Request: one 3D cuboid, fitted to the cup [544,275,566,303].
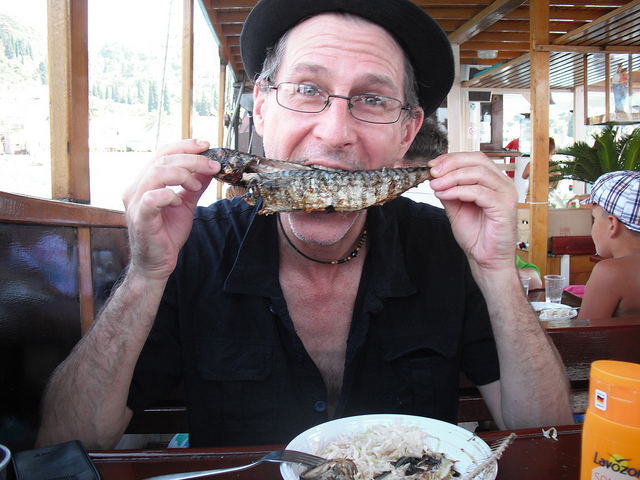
[{"bbox_3d":[2.241,0.494,5.055,0.157,0.287,0.305,1,7,23],"label":"cup"}]
